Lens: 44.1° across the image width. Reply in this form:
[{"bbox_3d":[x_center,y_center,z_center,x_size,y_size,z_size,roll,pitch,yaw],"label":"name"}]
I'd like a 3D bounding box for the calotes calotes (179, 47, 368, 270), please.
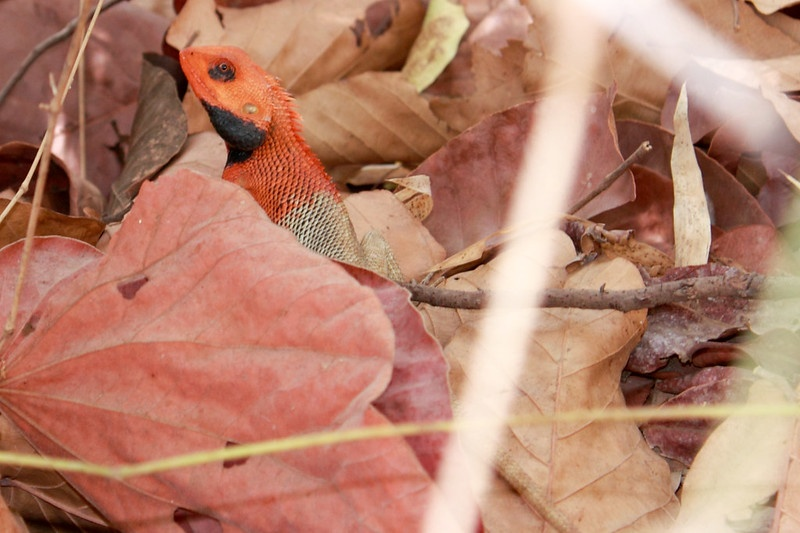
[{"bbox_3d":[-0.280,-0.222,2.183,0.206,0.190,0.669,-19,69,-17],"label":"calotes calotes"}]
